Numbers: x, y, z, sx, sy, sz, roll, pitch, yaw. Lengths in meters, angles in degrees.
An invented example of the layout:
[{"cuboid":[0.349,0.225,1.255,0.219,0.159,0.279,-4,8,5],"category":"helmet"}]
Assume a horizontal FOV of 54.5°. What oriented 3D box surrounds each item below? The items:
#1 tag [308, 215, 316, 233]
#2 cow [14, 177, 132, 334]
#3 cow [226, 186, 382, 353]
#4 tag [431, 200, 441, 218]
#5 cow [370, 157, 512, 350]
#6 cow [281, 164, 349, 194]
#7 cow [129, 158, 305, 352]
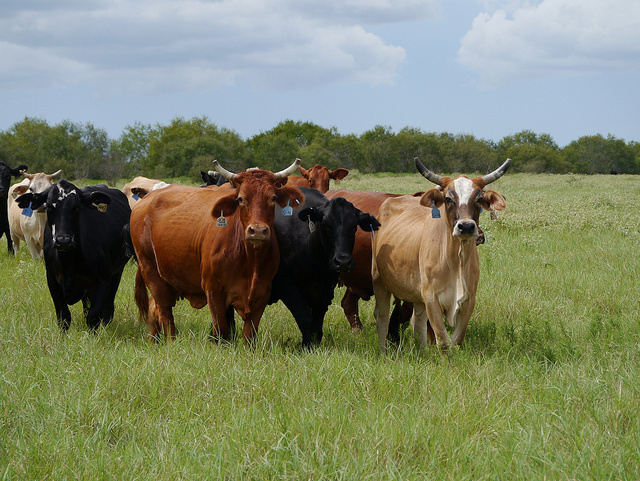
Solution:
[{"cuboid":[-0.099,-0.199,8.586,0.086,0.167,0.096,0,4,-6],"category":"tag"},{"cuboid":[-3.802,0.242,9.955,1.331,2.380,3.599,1,3,-13],"category":"cow"},{"cuboid":[-0.418,0.376,9.519,1.051,2.315,3.412,-3,9,-31],"category":"cow"},{"cuboid":[1.521,-0.422,8.128,0.105,0.226,0.340,1,4,9],"category":"tag"},{"cuboid":[1.490,0.210,8.413,0.855,2.626,2.261,-1,5,-26],"category":"cow"},{"cuboid":[-0.091,-1.377,13.765,0.772,0.883,1.587,-4,-3,-21],"category":"cow"},{"cuboid":[-1.545,0.187,8.708,1.273,2.556,2.937,-3,6,-40],"category":"cow"}]
